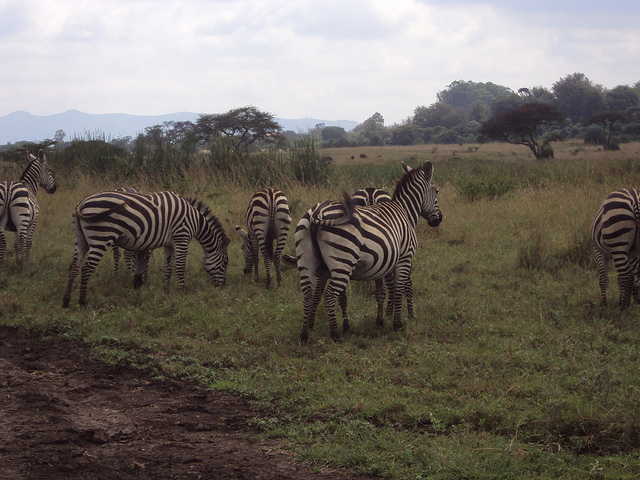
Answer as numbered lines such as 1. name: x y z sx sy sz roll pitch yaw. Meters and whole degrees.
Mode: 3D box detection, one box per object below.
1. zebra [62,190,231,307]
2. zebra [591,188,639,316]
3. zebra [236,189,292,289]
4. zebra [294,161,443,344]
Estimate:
1. zebra: -3.003 0.130 13.991 2.844 2.033 0.637 2 -3 -40
2. zebra: 4.963 0.177 13.335 0.758 2.055 0.563 0 -2 30
3. zebra: -1.110 0.004 15.986 0.725 2.051 2.705 -1 -10 -11
4. zebra: 0.979 0.131 13.177 3.393 2.854 1.230 -5 6 -44
